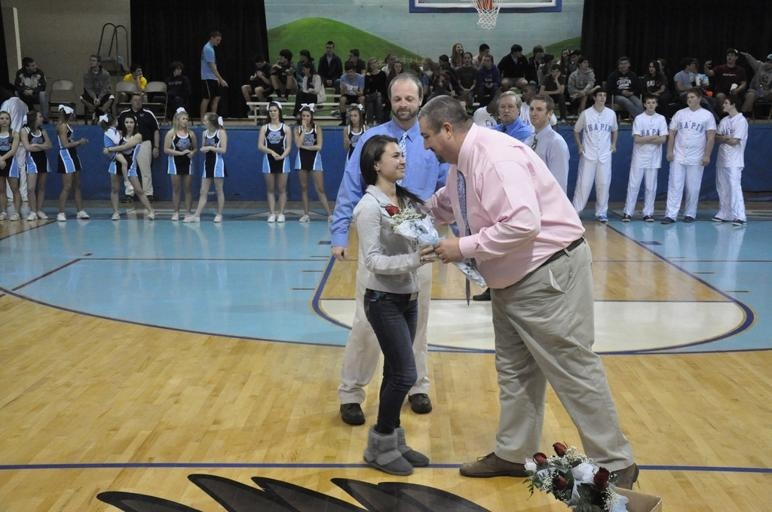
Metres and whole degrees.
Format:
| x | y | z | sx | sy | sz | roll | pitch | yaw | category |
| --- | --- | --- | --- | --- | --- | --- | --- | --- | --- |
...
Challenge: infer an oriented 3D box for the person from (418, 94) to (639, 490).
| x | y | z | sx | sy | sz | roll | pitch | yaw | category |
| --- | --- | --- | --- | --- | --- | --- | --- | --- | --- |
| 0.785 | 0.222 | 3.548 | 1.228 | 2.173 | 0.496 | 4 | 13 | 22 | person |

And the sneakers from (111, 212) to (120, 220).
| x | y | z | sx | sy | sz | roll | pitch | yaw | category |
| --- | --- | --- | --- | --- | --- | --- | --- | --- | --- |
| -4.892 | -0.707 | 11.492 | 0.112 | 0.110 | 0.261 | -1 | 2 | -9 | sneakers |

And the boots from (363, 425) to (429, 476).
| x | y | z | sx | sy | sz | roll | pitch | yaw | category |
| --- | --- | --- | --- | --- | --- | --- | --- | --- | --- |
| 0.064 | 1.125 | 3.793 | 0.317 | 0.168 | 0.260 | 6 | 5 | 17 | boots |

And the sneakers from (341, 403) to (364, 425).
| x | y | z | sx | sy | sz | roll | pitch | yaw | category |
| --- | --- | --- | --- | --- | --- | --- | --- | --- | --- |
| -0.229 | 1.050 | 4.224 | 0.086 | 0.081 | 0.190 | 0 | 6 | -3 | sneakers |

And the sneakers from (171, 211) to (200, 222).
| x | y | z | sx | sy | sz | roll | pitch | yaw | category |
| --- | --- | --- | --- | --- | --- | --- | --- | --- | --- |
| -3.598 | -0.685 | 11.423 | 0.512 | 0.221 | 0.162 | 10 | 13 | 26 | sneakers |

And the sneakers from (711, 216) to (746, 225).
| x | y | z | sx | sy | sz | roll | pitch | yaw | category |
| --- | --- | --- | --- | --- | --- | --- | --- | --- | --- |
| 5.885 | -0.598 | 10.997 | 0.425 | 0.170 | 0.147 | 1 | 5 | 43 | sneakers |

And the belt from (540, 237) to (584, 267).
| x | y | z | sx | sy | sz | roll | pitch | yaw | category |
| --- | --- | --- | --- | --- | --- | --- | --- | --- | --- |
| 0.963 | -0.024 | 3.480 | 0.202 | 0.050 | 0.157 | -34 | 9 | 13 | belt |

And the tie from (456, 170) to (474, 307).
| x | y | z | sx | sy | sz | roll | pitch | yaw | category |
| --- | --- | --- | --- | --- | --- | --- | --- | --- | --- |
| 0.489 | -0.094 | 3.999 | 0.108 | 0.959 | 0.106 | -3 | 4 | 9 | tie |

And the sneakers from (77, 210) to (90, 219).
| x | y | z | sx | sy | sz | roll | pitch | yaw | category |
| --- | --- | --- | --- | --- | --- | --- | --- | --- | --- |
| -5.572 | -0.747 | 11.698 | 0.130 | 0.165 | 0.377 | -2 | 2 | -40 | sneakers |

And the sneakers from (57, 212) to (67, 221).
| x | y | z | sx | sy | sz | roll | pitch | yaw | category |
| --- | --- | --- | --- | --- | --- | --- | --- | --- | --- |
| -5.666 | -0.667 | 11.112 | 0.114 | 0.121 | 0.298 | -3 | 2 | -24 | sneakers |
